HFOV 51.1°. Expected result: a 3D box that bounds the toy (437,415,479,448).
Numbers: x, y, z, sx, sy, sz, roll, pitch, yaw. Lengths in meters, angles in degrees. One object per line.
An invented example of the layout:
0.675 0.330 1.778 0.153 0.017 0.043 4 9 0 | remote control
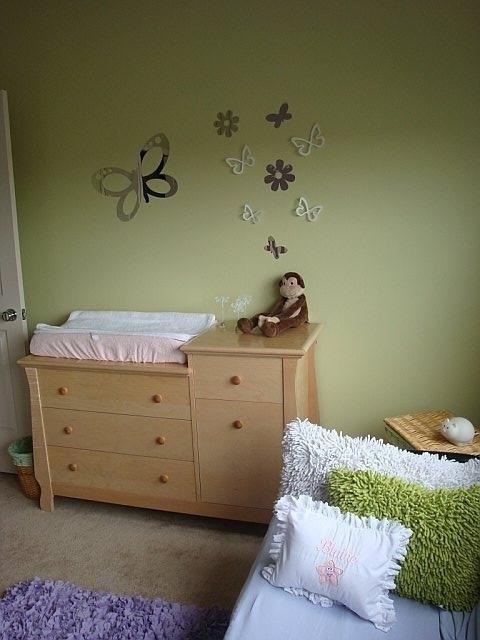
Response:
0.807 0.402 1.866 0.114 0.091 0.095 0 32 39 | toy

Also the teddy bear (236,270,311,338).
0.174 -0.084 2.335 0.226 0.258 0.345 11 18 40 | teddy bear

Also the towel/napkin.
-0.518 0.016 2.533 0.569 0.079 0.334 2 11 16 | towel/napkin

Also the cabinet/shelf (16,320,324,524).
-0.277 0.460 2.495 1.349 0.870 0.708 1 11 15 | cabinet/shelf
